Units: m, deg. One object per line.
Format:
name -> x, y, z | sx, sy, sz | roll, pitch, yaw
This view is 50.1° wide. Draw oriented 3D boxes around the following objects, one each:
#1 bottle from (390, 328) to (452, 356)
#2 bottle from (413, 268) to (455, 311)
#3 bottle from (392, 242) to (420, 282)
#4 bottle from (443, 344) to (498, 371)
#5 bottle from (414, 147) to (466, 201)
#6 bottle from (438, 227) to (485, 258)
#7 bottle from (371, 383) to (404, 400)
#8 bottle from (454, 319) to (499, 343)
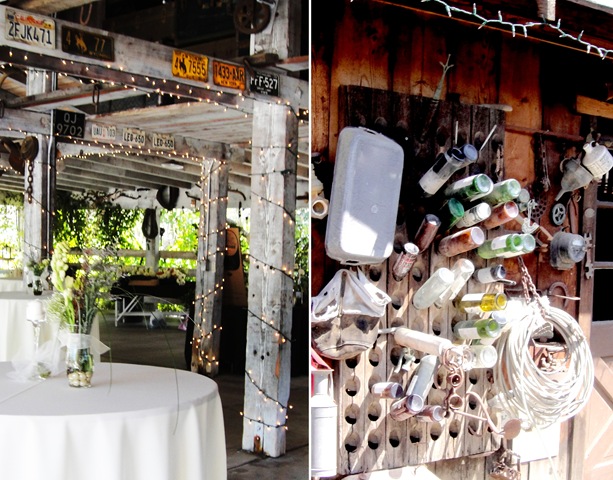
bottle -> 0.549, 0.480, 3.193 | 0.283, 0.119, 0.119 | 22, -11, 10
bottle -> 0.635, 0.238, 3.285 | 0.083, 0.231, 0.093 | 23, 38, -16
bottle -> 0.513, 0.102, 3.244 | 0.126, 0.160, 0.184 | 6, 3, 39
bottle -> 0.796, 0.569, 3.224 | 0.057, 0.129, 0.263 | 9, -7, -4
bottle -> 0.667, -0.343, 3.258 | 0.207, 0.220, 0.169 | 5, 2, 3
bottle -> 0.774, -0.003, 3.307 | 0.085, 0.101, 0.212 | 11, -15, -22
bottle -> 0.386, 0.722, 3.163 | 0.116, 0.074, 0.132 | 3, 3, -41
bottle -> 0.861, 0.454, 3.317 | 0.082, 0.086, 0.199 | -10, -10, -33
